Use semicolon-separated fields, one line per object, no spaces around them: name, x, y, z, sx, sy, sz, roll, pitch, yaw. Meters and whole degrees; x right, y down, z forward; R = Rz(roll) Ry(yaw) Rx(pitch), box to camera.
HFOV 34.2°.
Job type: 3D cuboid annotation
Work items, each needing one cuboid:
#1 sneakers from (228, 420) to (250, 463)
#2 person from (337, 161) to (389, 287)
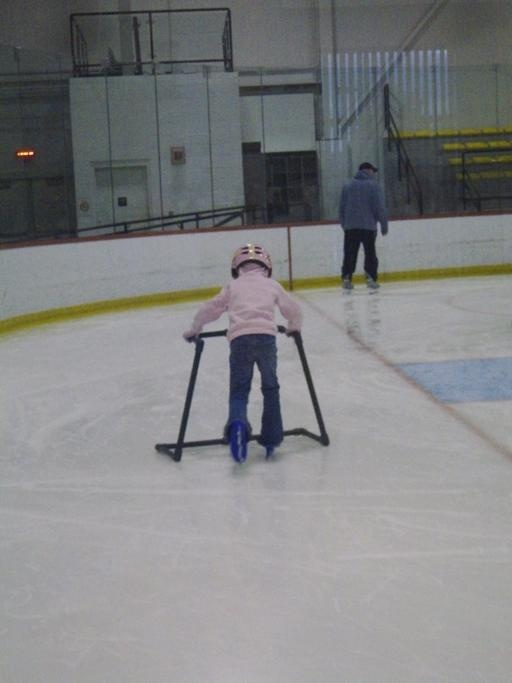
sneakers;-0.052;0.320;2.659;0.051;0.159;0.063;-6;-5;-1
person;1.005;-1.082;7.762;0.430;1.145;0.391;-2;8;5
